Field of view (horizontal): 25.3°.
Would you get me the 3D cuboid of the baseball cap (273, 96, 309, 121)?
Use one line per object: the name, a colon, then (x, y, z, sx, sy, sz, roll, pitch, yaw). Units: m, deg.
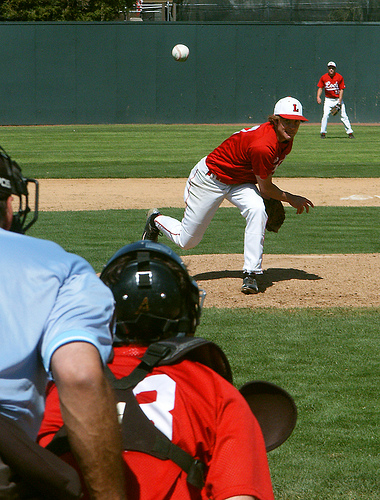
baseball cap: (0.616, -0.873, 5.130, 0.142, 0.098, 0.192, 1, 10, -23)

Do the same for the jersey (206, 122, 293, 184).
jersey: (0.366, -0.599, 5.265, 0.328, 0.407, 0.565, -6, 14, -31)

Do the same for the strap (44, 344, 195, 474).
strap: (-0.138, 0.323, 1.880, 0.265, 0.293, 0.292, -3, -7, 2)

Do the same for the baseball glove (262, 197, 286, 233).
baseball glove: (0.561, -0.236, 5.586, 0.166, 0.192, 0.079, 29, 37, 26)

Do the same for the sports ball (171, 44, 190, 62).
sports ball: (-0.224, -4.932, 21.019, 0.480, 0.412, 0.441, -3, -18, -1)

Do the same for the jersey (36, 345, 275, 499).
jersey: (0.014, 0.385, 1.860, 0.410, 0.351, 0.149, -4, -16, -16)
